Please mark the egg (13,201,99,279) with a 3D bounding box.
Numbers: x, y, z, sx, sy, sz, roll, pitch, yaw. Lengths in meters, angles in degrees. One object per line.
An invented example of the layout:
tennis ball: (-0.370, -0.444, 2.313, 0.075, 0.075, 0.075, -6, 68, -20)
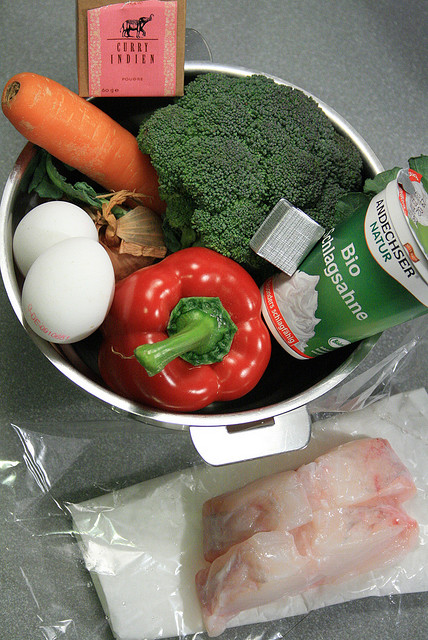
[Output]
egg: (-0.219, -0.116, 0.893, 0.122, 0.115, 0.125, 7, 84, 11)
